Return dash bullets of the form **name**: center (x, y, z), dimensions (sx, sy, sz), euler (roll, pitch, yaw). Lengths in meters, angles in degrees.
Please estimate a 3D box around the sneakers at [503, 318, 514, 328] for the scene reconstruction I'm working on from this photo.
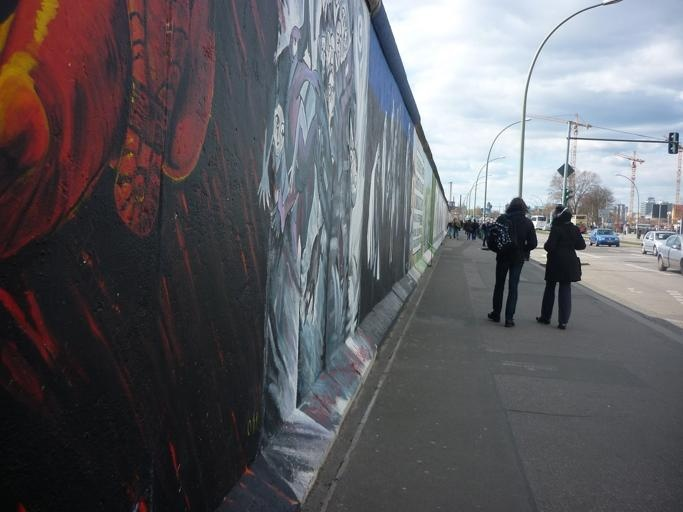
- **sneakers**: center (2.829, 1.140, 8.750), dimensions (0.153, 0.218, 0.091), euler (-1, 5, 5)

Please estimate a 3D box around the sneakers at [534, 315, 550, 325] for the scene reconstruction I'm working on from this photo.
- **sneakers**: center (3.542, 1.143, 9.150), dimensions (0.101, 0.143, 0.253), euler (8, 18, -46)

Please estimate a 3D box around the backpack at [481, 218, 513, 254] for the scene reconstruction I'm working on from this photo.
- **backpack**: center (2.687, -0.351, 8.791), dimensions (0.404, 0.627, 0.440), euler (2, 4, 11)

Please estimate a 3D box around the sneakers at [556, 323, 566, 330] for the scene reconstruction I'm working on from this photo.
- **sneakers**: center (3.707, 1.192, 8.736), dimensions (0.076, 0.098, 0.119), euler (0, 0, -6)

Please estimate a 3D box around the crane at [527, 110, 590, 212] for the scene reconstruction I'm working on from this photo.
- **crane**: center (9.485, -3.902, 22.571), dimensions (2.145, 4.241, 2.352), euler (2, 7, -13)

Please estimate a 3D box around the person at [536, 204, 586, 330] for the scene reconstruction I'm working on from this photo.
- **person**: center (3.811, 0.167, 8.987), dimensions (0.699, 2.103, 1.130), euler (3, 4, 26)
